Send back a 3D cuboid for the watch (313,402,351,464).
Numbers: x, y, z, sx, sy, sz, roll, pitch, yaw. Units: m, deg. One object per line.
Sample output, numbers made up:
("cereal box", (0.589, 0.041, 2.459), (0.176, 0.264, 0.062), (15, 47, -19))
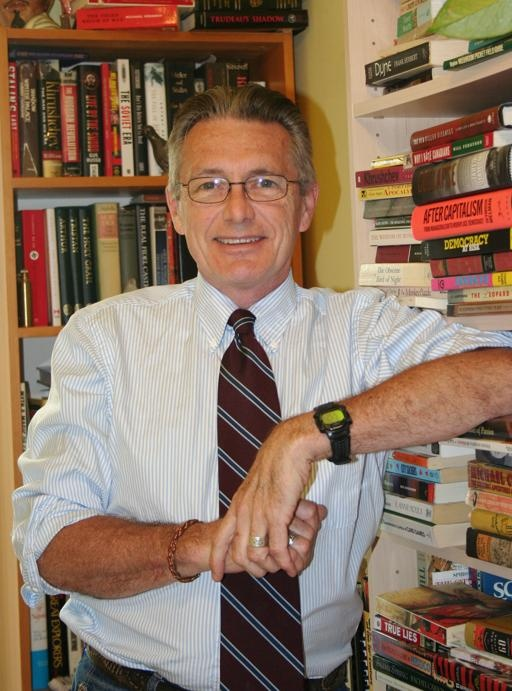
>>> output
("watch", (0.107, 0.122, 0.844), (0.046, 0.068, 0.069), (-14, 49, -2))
